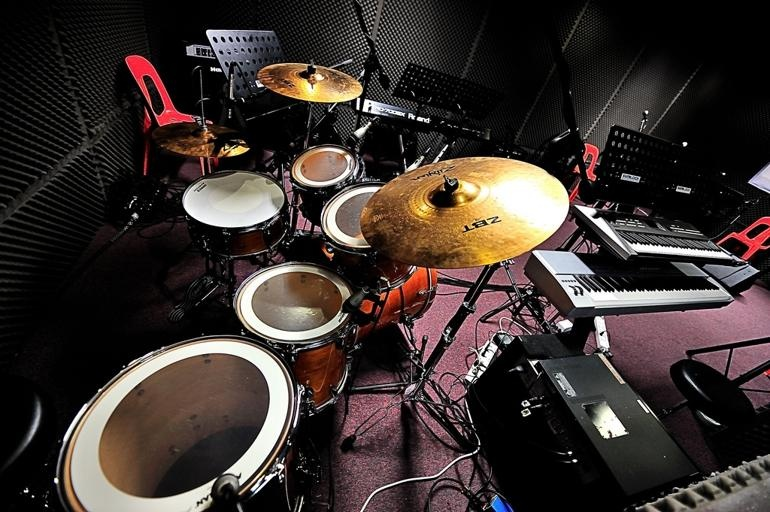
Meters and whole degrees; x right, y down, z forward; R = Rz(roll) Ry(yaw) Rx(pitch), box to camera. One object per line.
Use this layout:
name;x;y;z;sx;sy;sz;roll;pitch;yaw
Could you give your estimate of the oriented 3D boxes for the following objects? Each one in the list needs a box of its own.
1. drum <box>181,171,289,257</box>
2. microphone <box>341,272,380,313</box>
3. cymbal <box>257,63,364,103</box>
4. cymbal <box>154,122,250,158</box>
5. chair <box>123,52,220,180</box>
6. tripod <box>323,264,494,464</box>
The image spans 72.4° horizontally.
drum;-1.478;-0.429;5.231;0.966;0.395;0.901;5;47;-6
microphone;-0.204;0.314;4.370;0.218;0.110;0.325;35;82;-17
cymbal;-0.724;-1.768;5.441;0.735;0.162;0.694;-8;49;-30
cymbal;-1.914;-1.191;5.468;0.909;0.289;0.518;-7;49;-16
chair;-2.540;-1.513;6.522;1.240;1.541;1.126;9;33;-19
tripod;0.178;1.085;4.998;1.267;1.597;1.117;-15;66;-36
